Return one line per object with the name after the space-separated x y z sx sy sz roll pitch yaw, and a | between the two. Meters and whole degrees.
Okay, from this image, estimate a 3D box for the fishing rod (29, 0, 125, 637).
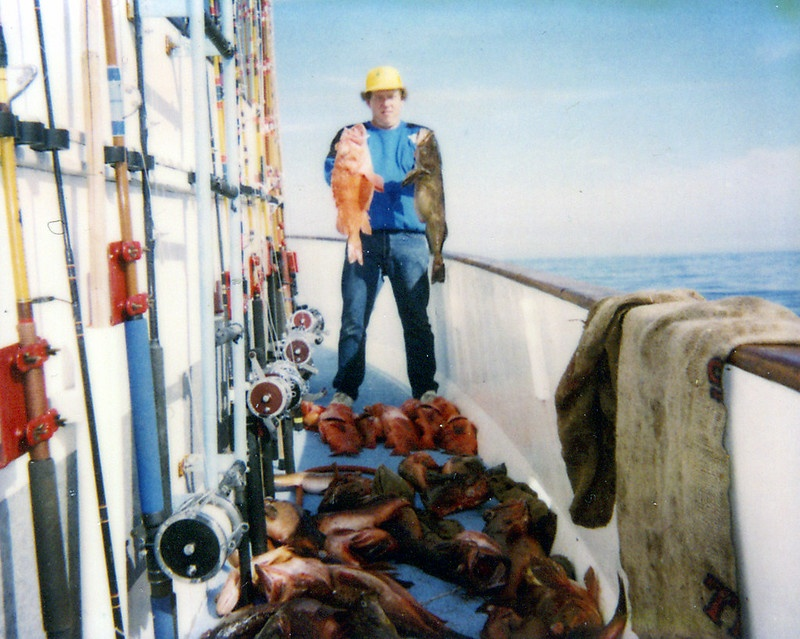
-0.986 -0.017 2.136 0.034 2.079 0.072 -10 9 -41 | fishing rod

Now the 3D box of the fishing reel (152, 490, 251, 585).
-0.666 0.727 2.499 0.253 0.286 0.371 -22 6 4 | fishing reel

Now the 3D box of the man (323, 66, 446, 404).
-0.136 -0.637 5.492 0.839 2.817 0.888 0 -2 14 | man

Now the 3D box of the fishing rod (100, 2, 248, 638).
-0.762 -0.067 2.603 0.286 2.359 0.264 -10 -34 2 | fishing rod

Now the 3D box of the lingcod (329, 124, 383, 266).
-0.327 -0.961 5.716 0.396 1.200 0.339 3 -1 19 | lingcod

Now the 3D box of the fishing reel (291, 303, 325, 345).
-0.597 0.048 4.718 0.200 0.119 0.291 -15 44 -17 | fishing reel

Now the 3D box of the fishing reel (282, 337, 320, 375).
-0.569 0.206 4.139 0.166 0.238 0.079 -43 -11 15 | fishing reel

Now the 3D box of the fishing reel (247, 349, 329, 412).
-0.523 0.335 3.252 0.278 0.268 0.450 -1 -2 17 | fishing reel

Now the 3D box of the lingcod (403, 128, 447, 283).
0.193 -0.924 5.470 0.297 1.267 0.328 -2 -3 -1 | lingcod
